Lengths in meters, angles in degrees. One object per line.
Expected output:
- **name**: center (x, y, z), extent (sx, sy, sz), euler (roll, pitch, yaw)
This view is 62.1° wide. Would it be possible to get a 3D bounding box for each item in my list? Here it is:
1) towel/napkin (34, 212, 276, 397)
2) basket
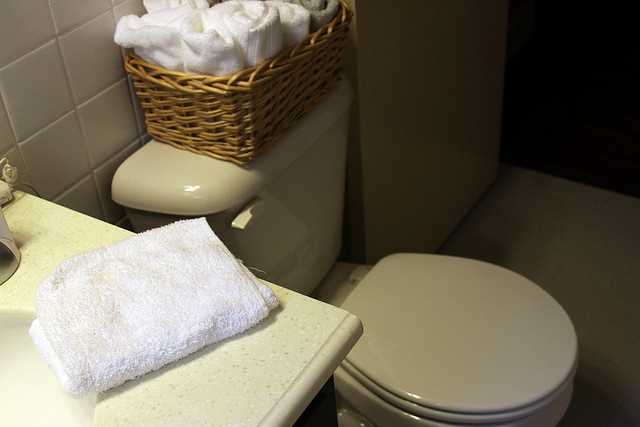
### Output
- **towel/napkin**: center (-0.239, 0.150, 0.790), extent (0.265, 0.083, 0.217), euler (-22, 53, -21)
- **basket**: center (-0.149, -0.205, 1.090), extent (0.289, 0.168, 0.418), euler (21, 52, 24)
